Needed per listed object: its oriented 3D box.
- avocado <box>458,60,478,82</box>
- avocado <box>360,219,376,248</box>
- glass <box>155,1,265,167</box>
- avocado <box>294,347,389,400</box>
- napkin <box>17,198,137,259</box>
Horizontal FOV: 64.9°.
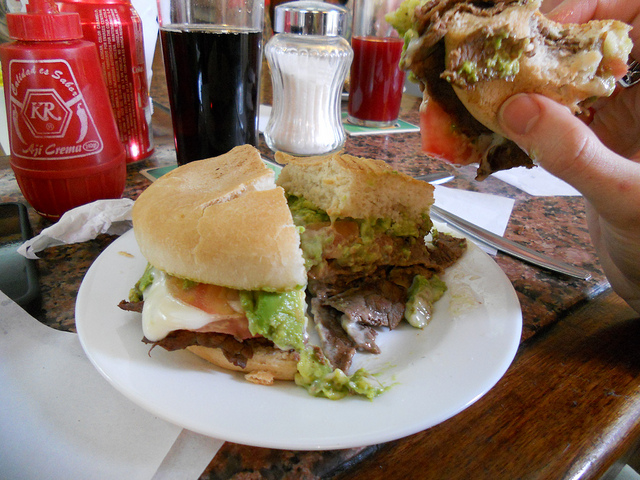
[{"bbox_3d":[0.385,-0.438,1.303,0.059,0.049,0.020,-10,39,-18],"label":"avocado"},{"bbox_3d":[0.169,-0.022,1.660,0.050,0.083,0.022,2,-12,-6],"label":"avocado"},{"bbox_3d":[-0.420,-0.639,2.055,0.322,0.765,0.368,-3,24,-9],"label":"glass"},{"bbox_3d":[0.062,0.380,1.379,0.189,0.081,0.337,7,-3,12],"label":"avocado"},{"bbox_3d":[-0.810,-0.059,1.732,0.318,0.184,0.459,9,17,31],"label":"napkin"}]
